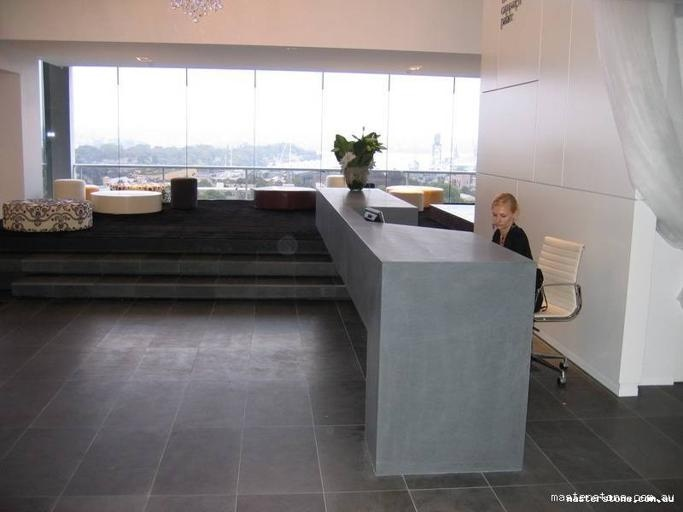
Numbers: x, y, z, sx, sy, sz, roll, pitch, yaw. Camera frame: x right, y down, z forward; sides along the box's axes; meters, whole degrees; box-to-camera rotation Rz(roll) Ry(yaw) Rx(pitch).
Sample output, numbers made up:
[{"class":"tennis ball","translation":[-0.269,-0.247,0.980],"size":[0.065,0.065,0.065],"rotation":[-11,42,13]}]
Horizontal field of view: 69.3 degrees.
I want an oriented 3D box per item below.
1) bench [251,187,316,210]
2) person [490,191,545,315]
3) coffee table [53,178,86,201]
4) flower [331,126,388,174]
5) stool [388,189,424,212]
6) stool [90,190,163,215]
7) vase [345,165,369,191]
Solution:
[{"class":"bench","translation":[-1.203,-1.155,9.984],"size":[1.216,0.428,0.514],"rotation":[3,13,16]},{"class":"person","translation":[1.514,-0.041,4.217],"size":[0.443,0.948,0.809],"rotation":[1,12,9]},{"class":"coffee table","translation":[-5.477,-1.325,9.879],"size":[0.553,0.365,0.339],"rotation":[-6,13,-22]},{"class":"flower","translation":[0.226,-1.448,6.098],"size":[0.676,0.687,0.683],"rotation":[8,2,-4]},{"class":"stool","translation":[1.284,-1.061,9.839],"size":[0.647,0.425,0.830],"rotation":[0,12,5]},{"class":"stool","translation":[-3.903,-0.946,8.953],"size":[1.160,0.364,0.578],"rotation":[-6,13,-22]},{"class":"vase","translation":[0.184,-0.963,6.118],"size":[0.251,0.286,0.255],"rotation":[-1,8,-13]}]
